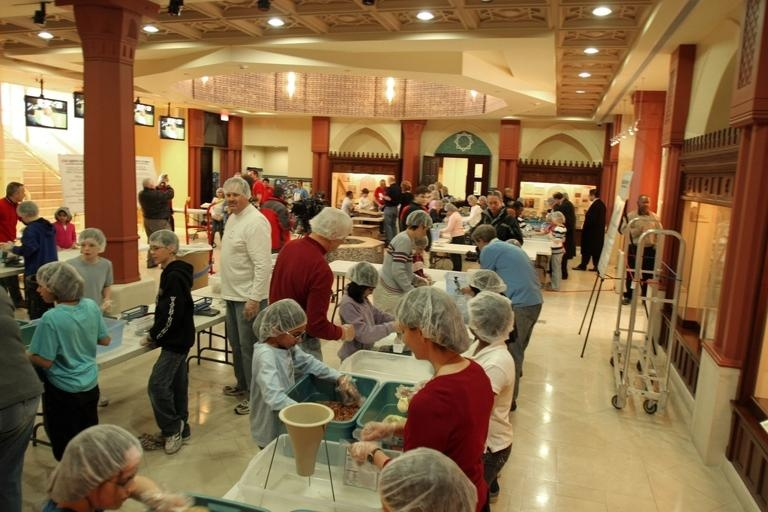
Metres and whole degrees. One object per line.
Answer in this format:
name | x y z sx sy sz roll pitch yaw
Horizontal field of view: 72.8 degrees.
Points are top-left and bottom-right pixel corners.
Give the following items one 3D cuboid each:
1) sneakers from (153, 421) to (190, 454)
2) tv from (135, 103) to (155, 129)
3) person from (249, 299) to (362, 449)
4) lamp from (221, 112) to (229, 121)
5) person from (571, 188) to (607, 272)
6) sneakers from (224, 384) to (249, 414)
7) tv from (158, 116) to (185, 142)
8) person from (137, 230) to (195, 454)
sneakers | -1.956 1.687 4.789 0.130 0.154 0.371 -5 -3 0
tv | -6.322 -3.715 13.622 0.438 0.565 0.518 -1 10 -29
person | -0.618 0.855 3.706 0.659 1.070 0.475 2 9 -14
lamp | -5.223 -4.502 16.843 0.285 0.205 0.280 3 -2 -12
person | 4.836 -0.590 12.120 0.578 1.922 1.364 7 9 22
sneakers | -1.565 1.517 5.527 0.160 0.219 0.522 1 -8 14
tv | -6.220 -3.716 15.106 0.123 0.619 0.868 0 4 25
person | -1.941 0.773 4.679 0.395 1.994 0.346 0 9 -23
